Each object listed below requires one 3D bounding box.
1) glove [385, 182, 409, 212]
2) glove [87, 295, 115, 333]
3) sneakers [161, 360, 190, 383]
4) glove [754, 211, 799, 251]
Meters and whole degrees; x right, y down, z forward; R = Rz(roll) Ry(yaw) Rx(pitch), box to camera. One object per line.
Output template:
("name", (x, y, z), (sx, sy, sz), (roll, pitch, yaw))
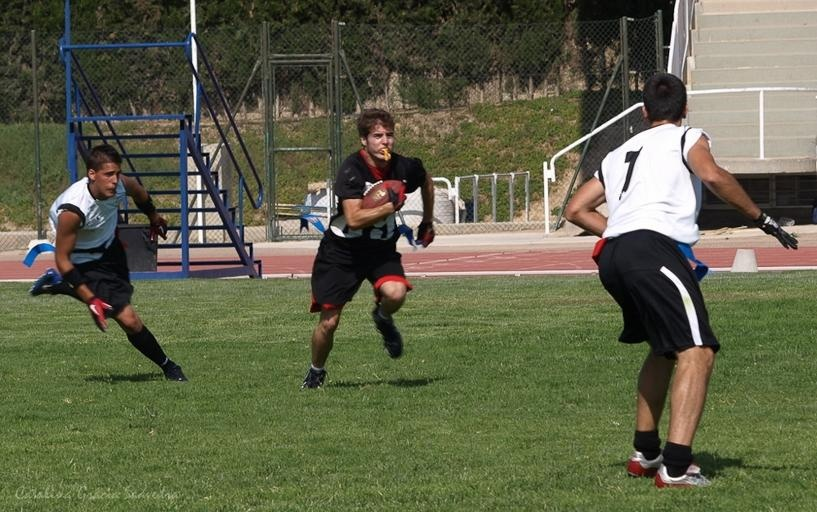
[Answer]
("glove", (-0.180, -0.757, 17.027), (0.351, 0.326, 0.140), (-3, -6, -11))
("glove", (-3.975, 0.734, 17.230), (0.402, 0.401, 0.177), (-42, -20, 14))
("sneakers", (-3.080, 1.552, 17.641), (0.206, 0.374, 0.144), (-48, -2, -12))
("glove", (6.030, -0.376, 22.002), (0.346, 0.951, 0.258), (-55, 3, -34))
